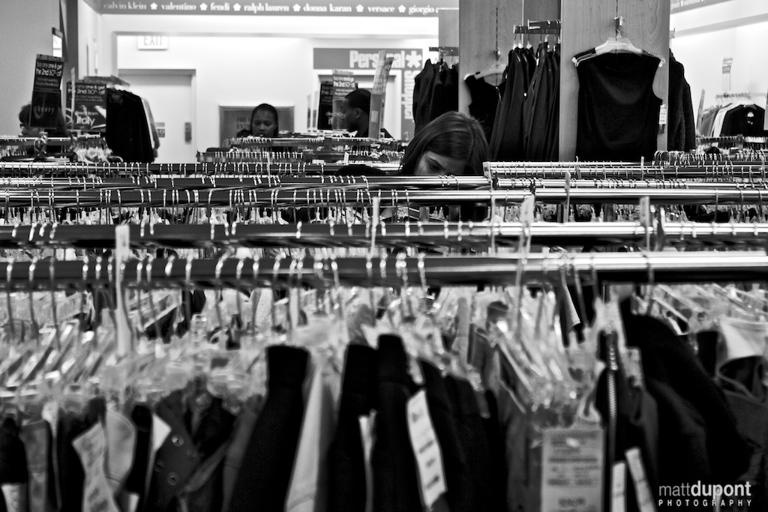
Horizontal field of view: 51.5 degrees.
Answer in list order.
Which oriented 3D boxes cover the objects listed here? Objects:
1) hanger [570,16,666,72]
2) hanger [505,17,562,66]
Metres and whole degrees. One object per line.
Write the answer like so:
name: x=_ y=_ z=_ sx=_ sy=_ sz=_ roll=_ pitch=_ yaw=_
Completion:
hanger: x=1.424 y=-1.304 z=4.829 sx=0.557 sy=0.314 sz=0.230 roll=3 pitch=5 yaw=14
hanger: x=1.086 y=-1.580 z=5.858 sx=0.399 sy=0.259 sz=0.622 roll=8 pitch=10 yaw=43
